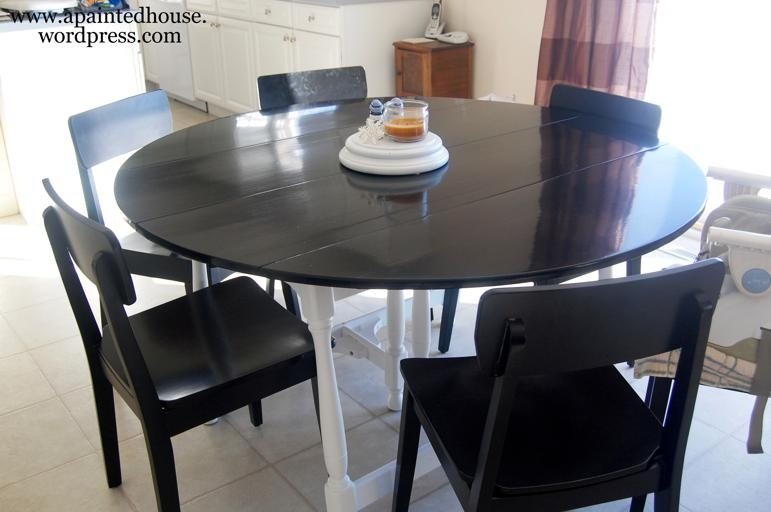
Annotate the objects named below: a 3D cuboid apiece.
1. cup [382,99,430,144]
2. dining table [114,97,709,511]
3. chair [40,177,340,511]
[{"bbox_3d":[0.072,-0.448,1.917,0.157,0.121,0.158,-2,26,1],"label":"cup"},{"bbox_3d":[0.007,-0.217,2.062,1.470,0.888,1.451,-9,41,-11],"label":"dining table"},{"bbox_3d":[-0.584,0.314,1.819,0.628,1.013,0.558,-25,44,-32],"label":"chair"}]
